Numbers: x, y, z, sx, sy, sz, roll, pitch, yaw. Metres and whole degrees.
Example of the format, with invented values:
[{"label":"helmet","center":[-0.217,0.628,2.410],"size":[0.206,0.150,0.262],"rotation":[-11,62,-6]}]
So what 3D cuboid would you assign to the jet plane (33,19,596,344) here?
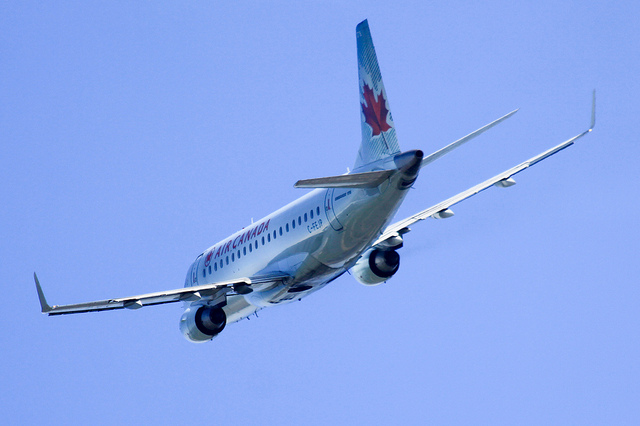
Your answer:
[{"label":"jet plane","center":[-2.411,-0.495,39.193],"size":[19.999,21.008,8.525],"rotation":[-17,-91,-28]}]
